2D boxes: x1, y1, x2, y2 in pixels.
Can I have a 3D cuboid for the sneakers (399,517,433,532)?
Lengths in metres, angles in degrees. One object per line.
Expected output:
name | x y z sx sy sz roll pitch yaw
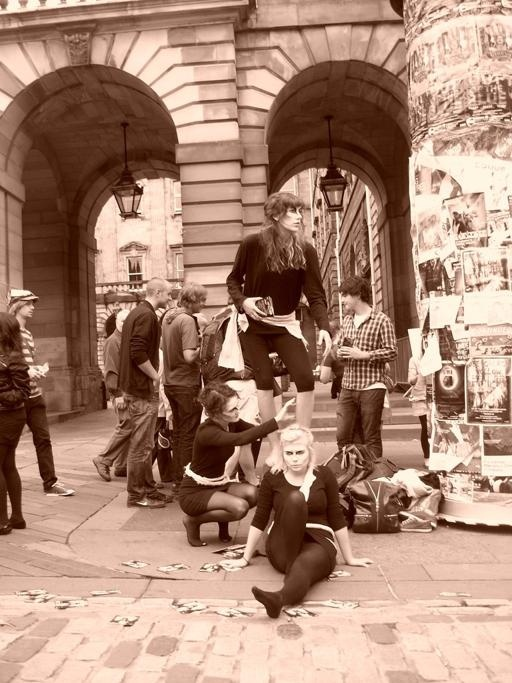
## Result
sneakers | 1.119 1.281 4.834 0.242 0.099 0.088 3 -6 10

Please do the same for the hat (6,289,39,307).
hat | -2.082 -0.395 6.014 0.305 0.159 0.234 -2 0 -2

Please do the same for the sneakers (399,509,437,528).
sneakers | 1.138 1.249 4.826 0.251 0.106 0.105 3 -4 10

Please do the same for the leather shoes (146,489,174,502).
leather shoes | -0.838 1.347 6.020 0.252 0.100 0.091 6 4 -7

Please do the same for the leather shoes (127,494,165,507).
leather shoes | -0.925 1.351 5.853 0.316 0.110 0.119 0 -1 2

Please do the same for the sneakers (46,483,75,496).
sneakers | -1.815 1.376 6.426 0.279 0.121 0.106 1 1 7

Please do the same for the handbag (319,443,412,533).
handbag | 0.816 1.088 5.138 0.563 0.268 0.702 0 15 0
